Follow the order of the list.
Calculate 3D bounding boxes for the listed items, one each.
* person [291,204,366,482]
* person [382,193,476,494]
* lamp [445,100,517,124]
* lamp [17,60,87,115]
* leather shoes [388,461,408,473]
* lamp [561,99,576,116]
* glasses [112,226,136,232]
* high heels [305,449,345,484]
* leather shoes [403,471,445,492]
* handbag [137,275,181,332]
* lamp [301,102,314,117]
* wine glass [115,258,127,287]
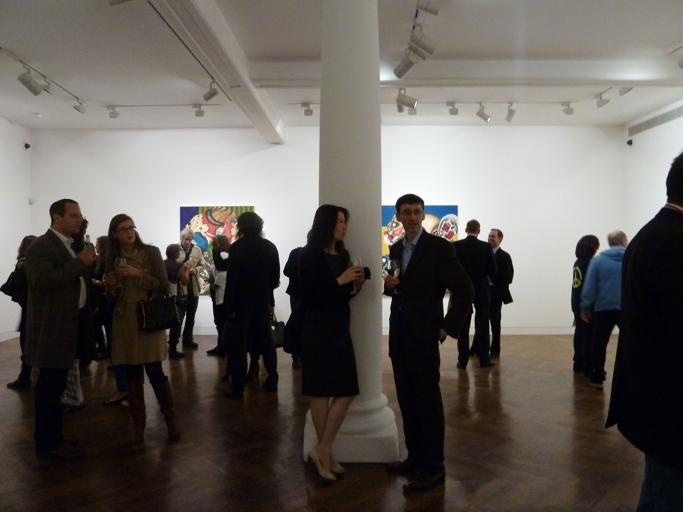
[{"bbox_3d":[-0.083,0.623,3.756,0.591,2.074,0.406,0,1,-5],"label":"person"},{"bbox_3d":[0.635,0.602,3.629,0.658,2.143,0.452,1,1,20],"label":"person"},{"bbox_3d":[2.550,-2.670,8.884,1.135,0.560,0.286,1,-5,-10],"label":"lamp"},{"bbox_3d":[-4.330,-2.468,7.069,0.224,0.357,1.153,-13,-30,44],"label":"lamp"},{"bbox_3d":[0.437,1.618,3.766,0.166,0.076,0.066,3,-4,1],"label":"leather shoes"},{"bbox_3d":[4.017,-2.654,8.641,0.171,0.251,0.237,0,-5,-3],"label":"lamp"},{"bbox_3d":[-1.812,-0.239,4.095,0.150,0.051,0.067,-1,3,-29],"label":"glasses"},{"bbox_3d":[-0.108,1.548,3.649,0.254,0.249,0.152,0,2,-1],"label":"high heels"},{"bbox_3d":[0.593,1.634,3.578,0.329,0.150,0.117,1,-9,-20],"label":"leather shoes"},{"bbox_3d":[-1.528,0.485,4.098,0.354,0.382,0.128,-3,-10,-44],"label":"handbag"},{"bbox_3d":[-0.591,-2.598,8.572,0.232,0.260,0.182,-1,-4,-1],"label":"lamp"},{"bbox_3d":[-1.772,0.125,3.945,0.076,0.241,0.268,-1,2,-25],"label":"wine glass"}]
